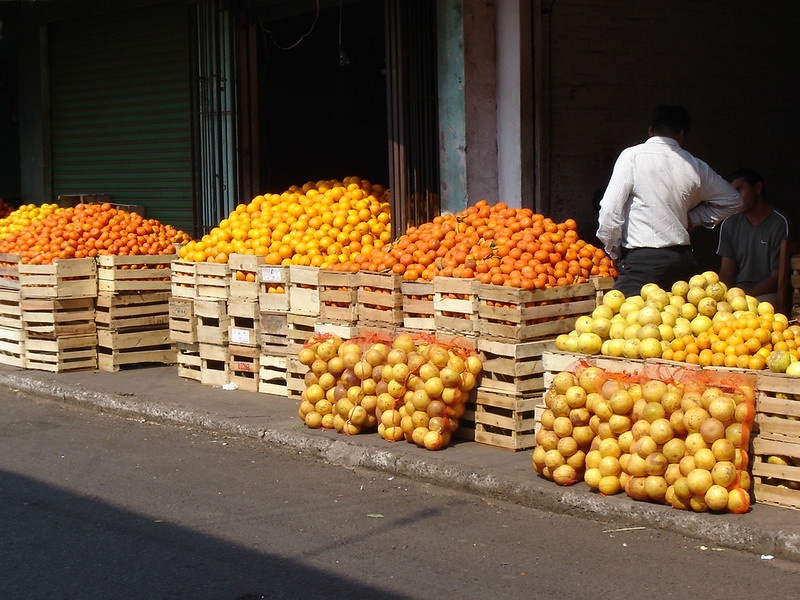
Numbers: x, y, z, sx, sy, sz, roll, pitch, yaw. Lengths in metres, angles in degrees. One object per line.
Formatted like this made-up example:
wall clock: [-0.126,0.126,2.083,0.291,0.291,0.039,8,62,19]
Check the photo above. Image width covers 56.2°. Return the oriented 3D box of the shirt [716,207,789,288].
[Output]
shirt: [3.541,-0.527,7.425,0.298,0.834,0.707,-7,10,-40]
